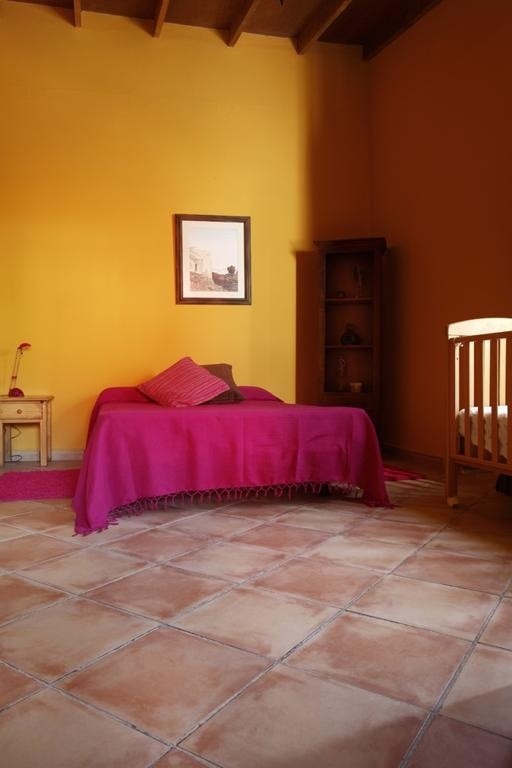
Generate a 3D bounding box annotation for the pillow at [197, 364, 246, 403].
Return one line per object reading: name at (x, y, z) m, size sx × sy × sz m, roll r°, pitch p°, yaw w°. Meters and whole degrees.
pillow at (-0.218, -0.006, 3.823) m, size 0.219 × 0.093 × 0.358 m, roll -2°, pitch 43°, yaw -21°

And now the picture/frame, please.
picture/frame at (-0.389, -1.049, 4.736) m, size 0.714 × 0.888 × 0.059 m, roll 0°, pitch 1°, yaw -16°

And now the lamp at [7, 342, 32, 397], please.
lamp at (-1.812, -0.119, 4.343) m, size 0.165 × 0.432 × 0.335 m, roll 0°, pitch 0°, yaw -20°
